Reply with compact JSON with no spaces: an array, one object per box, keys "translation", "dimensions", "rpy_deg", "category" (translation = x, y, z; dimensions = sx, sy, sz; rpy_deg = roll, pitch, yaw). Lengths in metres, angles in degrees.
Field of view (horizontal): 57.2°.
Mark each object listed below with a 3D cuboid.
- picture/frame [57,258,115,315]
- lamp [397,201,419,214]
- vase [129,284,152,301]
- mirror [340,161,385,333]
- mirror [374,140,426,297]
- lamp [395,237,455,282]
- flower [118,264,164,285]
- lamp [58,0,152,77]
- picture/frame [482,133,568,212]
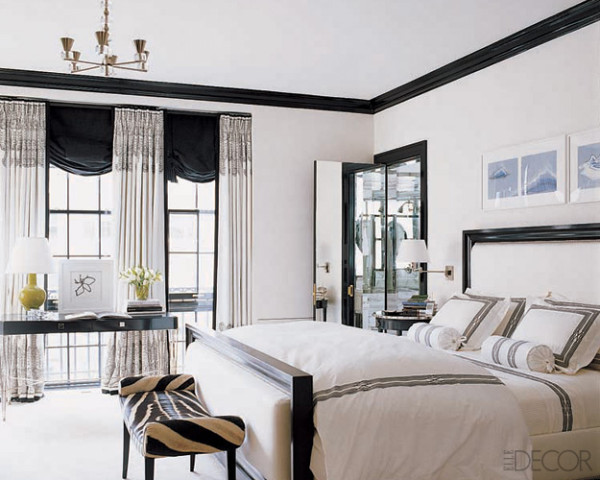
[{"translation":[-2.057,0.444,5.260],"dimensions":[0.492,0.573,0.063],"rpy_deg":[3,-32,-28],"category":"picture/frame"},{"translation":[1.279,-0.381,6.444],"dimensions":[0.084,0.151,0.223],"rpy_deg":[2,-5,-5],"category":"lamp"},{"translation":[-1.600,0.527,5.507],"dimensions":[0.173,0.223,0.193],"rpy_deg":[2,-10,-13],"category":"vase"},{"translation":[0.659,0.145,6.338],"dimensions":[0.117,1.888,0.403],"rpy_deg":[-4,7,-30],"category":"mirror"},{"translation":[1.247,-0.252,6.886],"dimensions":[0.407,1.494,0.760],"rpy_deg":[5,4,14],"category":"mirror"},{"translation":[1.247,0.198,5.523],"dimensions":[0.542,0.420,0.364],"rpy_deg":[0,-6,10],"category":"lamp"},{"translation":[-1.618,0.364,5.461],"dimensions":[0.239,0.164,0.256],"rpy_deg":[-3,-9,25],"category":"flower"},{"translation":[-1.555,-1.630,4.369],"dimensions":[0.503,0.587,0.466],"rpy_deg":[-1,-10,-5],"category":"lamp"},{"translation":[1.946,-0.572,4.672],"dimensions":[0.017,0.522,0.681],"rpy_deg":[2,-3,-25],"category":"picture/frame"}]
